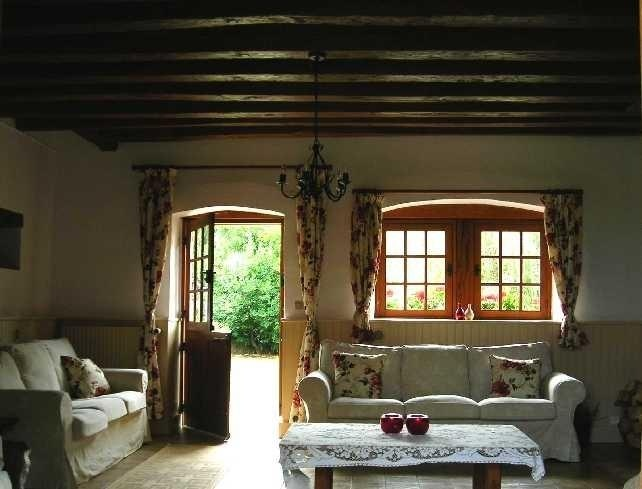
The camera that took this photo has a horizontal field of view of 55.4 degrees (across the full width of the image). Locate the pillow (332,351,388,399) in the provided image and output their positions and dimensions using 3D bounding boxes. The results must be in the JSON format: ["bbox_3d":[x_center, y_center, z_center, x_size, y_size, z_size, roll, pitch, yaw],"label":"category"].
[{"bbox_3d":[0.393,1.390,6.385,0.542,0.545,0.225,1,-30,2],"label":"pillow"}]

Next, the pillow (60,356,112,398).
[{"bbox_3d":[-2.375,1.370,6.288,0.270,0.479,0.510,-10,-12,10],"label":"pillow"}]

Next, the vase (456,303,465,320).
[{"bbox_3d":[1.650,0.800,7.328,0.128,0.207,0.136,1,-9,0],"label":"vase"}]

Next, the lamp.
[{"bbox_3d":[-0.020,-0.998,6.122,0.776,1.268,2.102,1,-2,-3],"label":"lamp"}]

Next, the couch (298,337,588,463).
[{"bbox_3d":[1.213,1.608,6.337,2.749,1.204,1.069,-3,-12,12],"label":"couch"}]

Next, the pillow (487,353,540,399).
[{"bbox_3d":[1.975,1.356,6.283,0.335,0.351,0.136,0,-24,3],"label":"pillow"}]

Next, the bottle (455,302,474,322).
[{"bbox_3d":[1.725,0.818,7.341,0.268,0.267,0.162,0,-12,2],"label":"bottle"}]

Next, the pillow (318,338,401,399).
[{"bbox_3d":[0.548,1.366,6.734,0.601,0.689,0.249,5,-19,-4],"label":"pillow"}]
